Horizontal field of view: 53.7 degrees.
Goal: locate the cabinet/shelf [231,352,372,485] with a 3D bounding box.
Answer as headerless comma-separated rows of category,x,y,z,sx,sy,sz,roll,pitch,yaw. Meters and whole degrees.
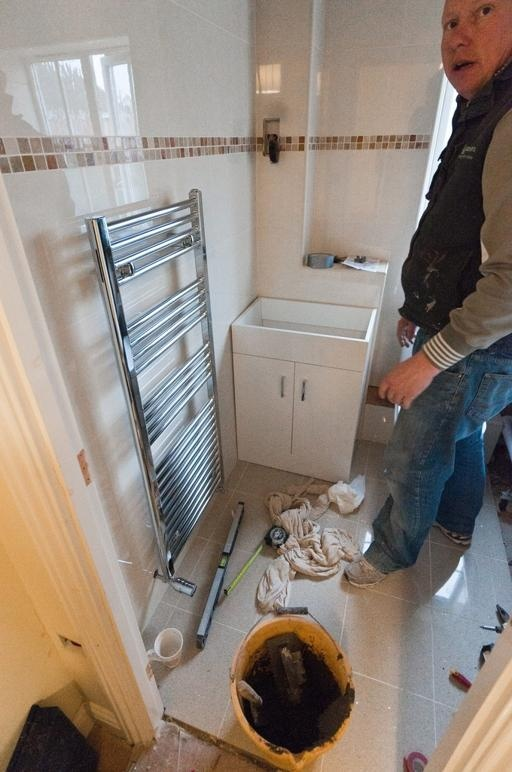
cabinet/shelf,0.203,0.020,2.167,0.584,0.701,0.385,11,35,18
